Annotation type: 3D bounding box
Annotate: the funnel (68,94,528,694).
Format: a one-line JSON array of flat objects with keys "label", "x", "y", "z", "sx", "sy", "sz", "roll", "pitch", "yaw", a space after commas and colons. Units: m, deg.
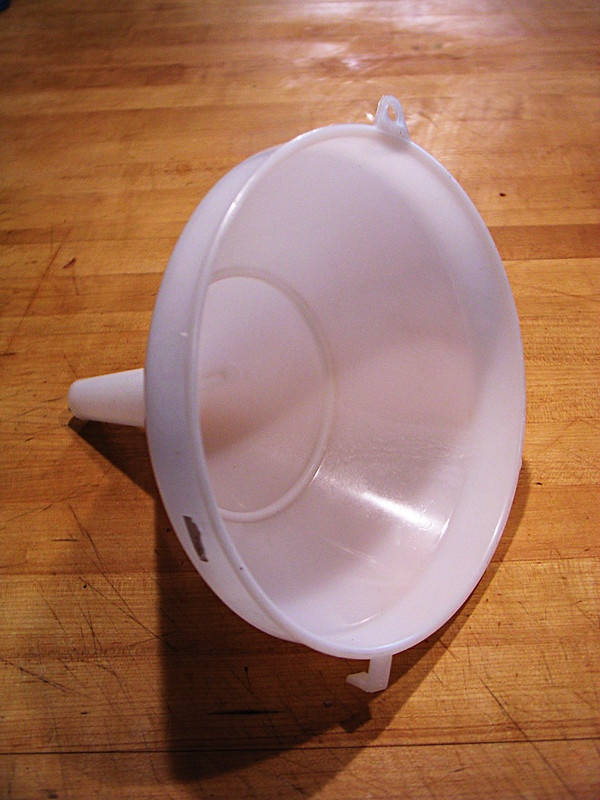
[{"label": "funnel", "x": 0.060, "y": -0.005, "z": 0.963, "sx": 0.444, "sy": 0.509, "sz": 0.564, "roll": -11, "pitch": 60, "yaw": -3}]
